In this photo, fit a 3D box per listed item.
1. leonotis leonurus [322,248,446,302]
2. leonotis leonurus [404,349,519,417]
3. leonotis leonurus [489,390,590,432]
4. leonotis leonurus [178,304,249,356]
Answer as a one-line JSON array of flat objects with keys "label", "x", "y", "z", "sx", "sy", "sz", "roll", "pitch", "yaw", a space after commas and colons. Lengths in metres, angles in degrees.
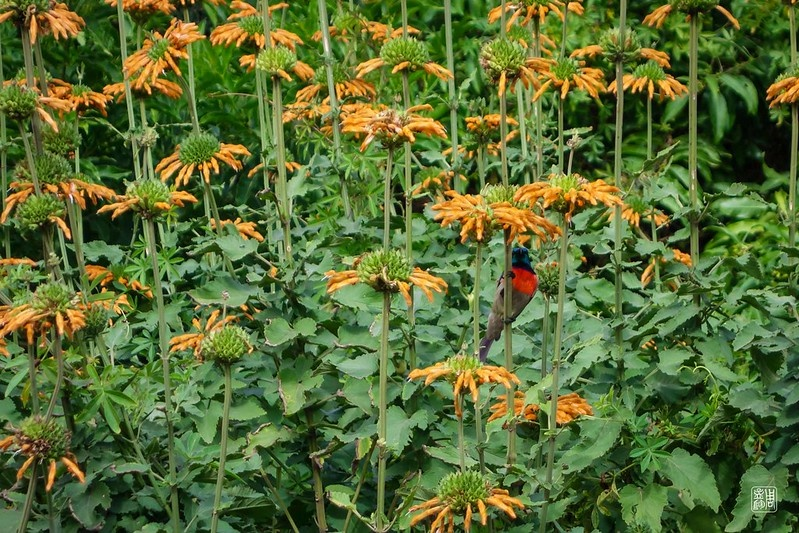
[{"label": "leonotis leonurus", "x": -0.034, "y": 0.040, "z": 4.754, "sx": 0.330, "sy": 0.150, "sz": 0.322, "roll": 15, "pitch": 0, "yaw": -40}, {"label": "leonotis leonurus", "x": 0.281, "y": 0.479, "z": 4.794, "sx": 0.343, "sy": 0.231, "sz": 0.339, "roll": 0, "pitch": -5, "yaw": -3}, {"label": "leonotis leonurus", "x": 0.675, "y": 0.649, "z": 5.065, "sx": 0.248, "sy": 0.091, "sz": 0.253, "roll": 1, "pitch": -1, "yaw": 44}, {"label": "leonotis leonurus", "x": -0.922, "y": 0.309, "z": 5.317, "sx": 0.306, "sy": 0.125, "sz": 0.299, "roll": -21, "pitch": 9, "yaw": -28}]
